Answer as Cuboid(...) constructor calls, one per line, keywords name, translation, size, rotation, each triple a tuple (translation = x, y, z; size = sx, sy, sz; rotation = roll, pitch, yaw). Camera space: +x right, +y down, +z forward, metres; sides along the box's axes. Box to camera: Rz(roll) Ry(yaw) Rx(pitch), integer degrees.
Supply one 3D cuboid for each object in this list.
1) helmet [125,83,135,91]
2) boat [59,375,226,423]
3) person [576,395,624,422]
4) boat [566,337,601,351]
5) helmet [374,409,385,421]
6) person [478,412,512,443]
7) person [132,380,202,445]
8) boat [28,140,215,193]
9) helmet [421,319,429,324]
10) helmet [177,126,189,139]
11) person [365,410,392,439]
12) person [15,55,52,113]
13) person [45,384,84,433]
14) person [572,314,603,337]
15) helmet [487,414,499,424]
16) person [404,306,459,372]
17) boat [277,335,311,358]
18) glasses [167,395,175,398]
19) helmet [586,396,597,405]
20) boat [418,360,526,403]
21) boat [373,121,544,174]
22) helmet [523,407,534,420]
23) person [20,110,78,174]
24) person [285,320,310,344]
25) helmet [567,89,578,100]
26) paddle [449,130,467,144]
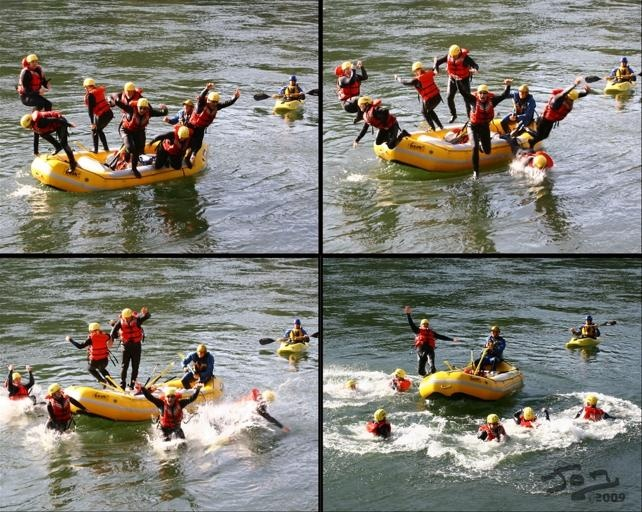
Cuboid(name="helmet", translation=(-4.738, -4.197, 24.829), size=(0.359, 0.198, 0.415), rotation=(-1, 16, -7))
Cuboid(name="boat", translation=(-4.046, 3.353, 23.039), size=(3.020, 0.578, 1.247), rotation=(0, 0, -21))
Cuboid(name="person", translation=(6.573, 3.655, 23.595), size=(0.891, 0.732, 0.230), rotation=(-4, 33, 6))
Cuboid(name="boat", translation=(7.022, 2.348, 26.652), size=(0.826, 0.137, 0.342), rotation=(-2, 6, -14))
Cuboid(name="helmet", translation=(1.353, 3.626, 22.763), size=(0.286, 0.273, 0.292), rotation=(1, 39, 11))
Cuboid(name="person", translation=(3.978, 3.981, 22.800), size=(0.810, 0.889, 0.368), rotation=(-4, 18, -2))
Cuboid(name="person", translation=(-3.489, 3.637, 22.577), size=(1.752, 1.700, 0.589), rotation=(-3, 13, -11))
Cuboid(name="boat", translation=(-5.047, -2.126, 25.301), size=(3.678, 0.545, 1.538), rotation=(-9, 23, -23))
Cuboid(name="helmet", translation=(2.561, 1.609, 24.520), size=(0.202, 0.106, 0.262), rotation=(0, -9, 1))
Cuboid(name="helmet", translation=(-3.406, -3.045, 24.673), size=(0.292, 0.160, 0.286), rotation=(6, 48, -9))
Cuboid(name="person", translation=(1.344, 3.847, 22.924), size=(0.626, 0.593, 0.283), rotation=(1, 3, 16))
Cuboid(name="person", translation=(-7.352, -4.330, 25.473), size=(0.743, 1.671, 1.157), rotation=(-12, 34, -13))
Cuboid(name="person", translation=(-5.868, 3.426, 22.470), size=(0.480, 1.202, 0.764), rotation=(25, 42, 34))
Cuboid(name="person", translation=(7.174, 1.964, 26.935), size=(0.777, 0.801, 0.770), rotation=(6, 32, 12))
Cuboid(name="helmet", translation=(3.882, 3.681, 22.516), size=(0.223, 0.162, 0.238), rotation=(-5, 19, 2))
Cuboid(name="person", translation=(2.576, 2.222, 24.601), size=(0.875, 2.310, 0.963), rotation=(-2, 35, 1))
Cuboid(name="boat", translation=(-0.734, 2.357, 26.126), size=(0.857, 0.395, 0.455), rotation=(-2, 31, -2))
Cuboid(name="glasses", translation=(-3.303, 3.117, 21.949), size=(0.116, 0.090, 0.036), rotation=(-1, -3, 0))
Cuboid(name="helmet", translation=(6.290, 3.340, 23.077), size=(0.235, 0.214, 0.243), rotation=(-3, 39, 0))
Cuboid(name="boat", translation=(3.680, 3.073, 23.850), size=(2.503, 0.933, 0.871), rotation=(-10, 33, -16))
Cuboid(name="boat", translation=(3.681, -2.566, 25.921), size=(3.931, 0.788, 1.569), rotation=(-10, 30, -11))
Cuboid(name="helmet", translation=(4.759, 3.663, 22.996), size=(0.290, 0.269, 0.287), rotation=(-2, -13, 5))
Cuboid(name="person", translation=(-6.600, -2.815, 24.519), size=(1.118, 1.576, 1.104), rotation=(-10, 34, -12))
Cuboid(name="person", translation=(-0.645, 2.035, 26.383), size=(0.617, 0.595, 0.323), rotation=(6, -17, -1))
Cuboid(name="helmet", translation=(6.233, -3.982, 24.671), size=(0.225, 0.282, 0.319), rotation=(5, 31, 10))
Cuboid(name="paddle", translation=(3.646, -3.092, 26.152), size=(0.502, 0.172, 0.265), rotation=(-33, 51, -5))
